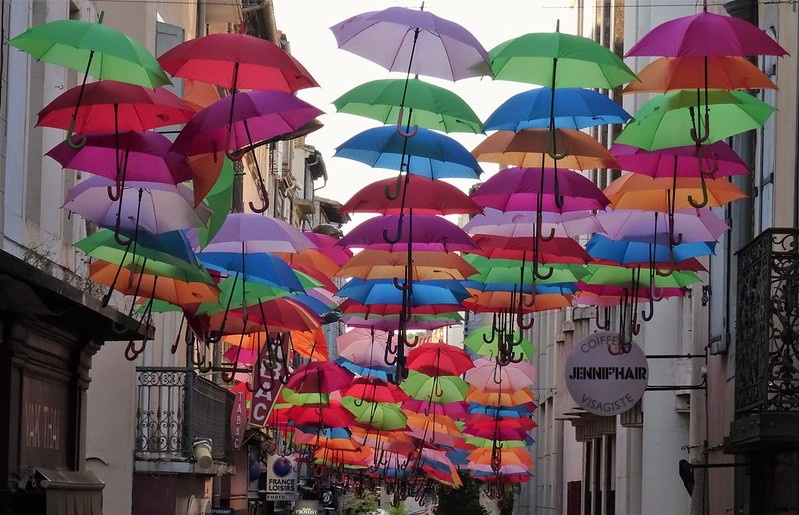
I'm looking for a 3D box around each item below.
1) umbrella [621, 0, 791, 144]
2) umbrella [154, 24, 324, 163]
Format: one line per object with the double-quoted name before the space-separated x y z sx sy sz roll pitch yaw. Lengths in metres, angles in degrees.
"umbrella" 4.538 -2.405 25.035 2.214 2.023 2.228 -2 -18 5
"umbrella" -2.099 -2.886 25.198 2.325 1.997 2.342 -3 -25 22
